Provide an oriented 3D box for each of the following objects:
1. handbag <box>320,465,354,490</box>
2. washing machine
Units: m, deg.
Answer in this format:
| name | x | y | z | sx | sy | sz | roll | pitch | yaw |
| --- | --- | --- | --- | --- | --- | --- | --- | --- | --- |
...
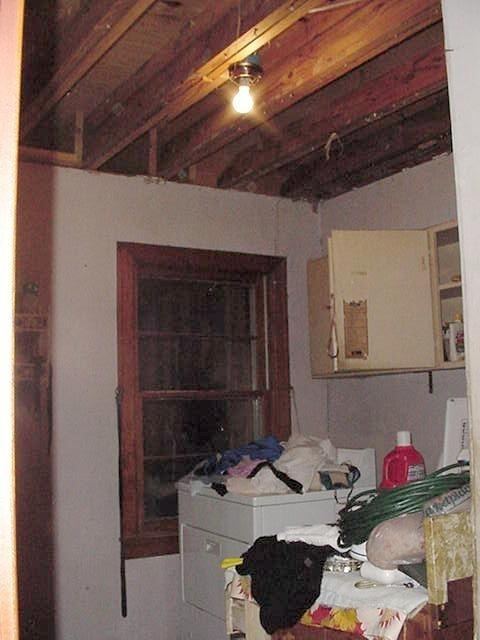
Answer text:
| name | x | y | z | sx | sy | sz | roll | pitch | yaw |
| --- | --- | --- | --- | --- | --- | --- | --- | --- | --- |
| handbag | 0.394 | 0.630 | 2.468 | 0.084 | 0.080 | 0.237 | -7 | -8 | 34 |
| washing machine | 0.122 | 0.724 | 2.047 | 0.397 | 0.783 | 0.736 | 7 | -16 | -22 |
